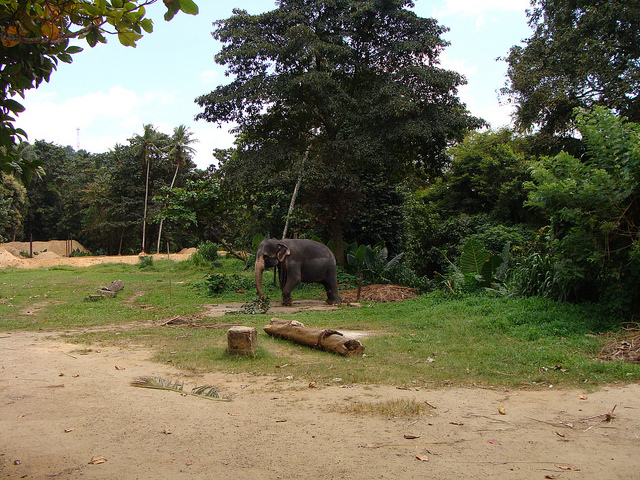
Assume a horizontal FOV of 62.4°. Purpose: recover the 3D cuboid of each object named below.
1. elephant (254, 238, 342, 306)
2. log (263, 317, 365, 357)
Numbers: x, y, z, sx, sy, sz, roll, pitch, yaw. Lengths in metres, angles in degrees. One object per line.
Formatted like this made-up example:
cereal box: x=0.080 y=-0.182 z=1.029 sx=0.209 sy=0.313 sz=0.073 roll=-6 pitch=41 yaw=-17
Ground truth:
elephant: x=-0.574 y=0.830 z=13.845 sx=2.461 sy=1.732 sz=1.179 roll=-7 pitch=13 yaw=-33
log: x=-0.055 y=1.598 z=8.746 sx=1.980 sy=0.422 sz=0.538 roll=5 pitch=-32 yaw=44
